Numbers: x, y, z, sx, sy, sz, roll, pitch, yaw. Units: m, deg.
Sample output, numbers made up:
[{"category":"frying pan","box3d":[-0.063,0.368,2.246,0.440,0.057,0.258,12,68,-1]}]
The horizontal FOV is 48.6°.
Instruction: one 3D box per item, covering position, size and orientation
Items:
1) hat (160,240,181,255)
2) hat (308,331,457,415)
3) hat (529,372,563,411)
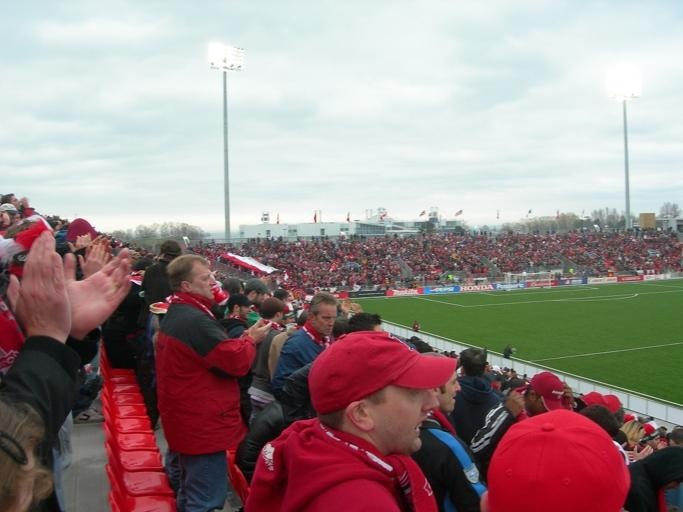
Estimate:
[{"category":"hat","box3d":[-1.759,-0.082,7.812,0.202,0.159,0.218,-1,1,-14]},{"category":"hat","box3d":[0.194,0.560,3.836,0.682,0.243,0.391,-9,2,1]},{"category":"hat","box3d":[1.592,1.056,5.888,0.259,0.292,0.508,0,1,15]}]
